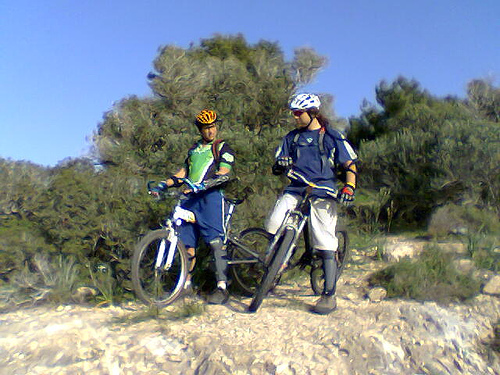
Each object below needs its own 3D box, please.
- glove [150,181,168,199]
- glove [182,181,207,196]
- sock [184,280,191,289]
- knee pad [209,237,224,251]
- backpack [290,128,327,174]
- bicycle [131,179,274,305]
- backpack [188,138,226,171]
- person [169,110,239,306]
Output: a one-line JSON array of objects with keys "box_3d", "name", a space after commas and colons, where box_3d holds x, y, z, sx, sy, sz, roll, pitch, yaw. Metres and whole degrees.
[{"box_3d": [-1.208, 0.013, 5.036, 0.202, 0.222, 0.296, 2, 14, -4], "name": "glove"}, {"box_3d": [-0.746, -0.013, 5.034, 0.229, 0.107, 0.199, -35, -20, -12], "name": "glove"}, {"box_3d": [-0.856, 1.308, 5.162, 0.042, 0.099, 0.179, 5, 14, 11], "name": "sock"}, {"box_3d": [-0.462, 0.764, 5.154, 0.183, 0.168, 0.053, 1, 12, -8], "name": "knee pad"}, {"box_3d": [0.857, -0.460, 5.207, 0.406, 0.824, 0.552, 2, -13, 0], "name": "backpack"}, {"box_3d": [-0.583, 0.799, 5.285, 2.054, 1.615, 1.153, 0, -12, -17], "name": "bicycle"}, {"box_3d": [-0.578, -0.581, 5.453, 0.324, 0.542, 0.470, -2, 30, 39], "name": "backpack"}, {"box_3d": [-0.592, 0.259, 5.468, 0.836, 2.714, 1.221, 2, 12, -3], "name": "person"}]
